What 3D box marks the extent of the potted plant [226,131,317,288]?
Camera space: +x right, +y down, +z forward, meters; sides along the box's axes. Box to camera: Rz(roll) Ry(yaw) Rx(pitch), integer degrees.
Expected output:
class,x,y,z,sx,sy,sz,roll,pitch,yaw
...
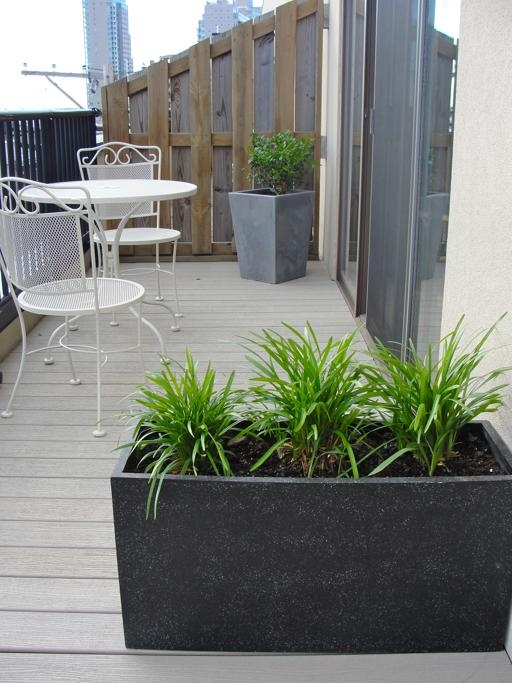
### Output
class,x,y,z,sx,sy,sz,roll,pitch,yaw
potted plant,0.183,-1.146,4.268,0.540,1.200,0.710,13,23,39
